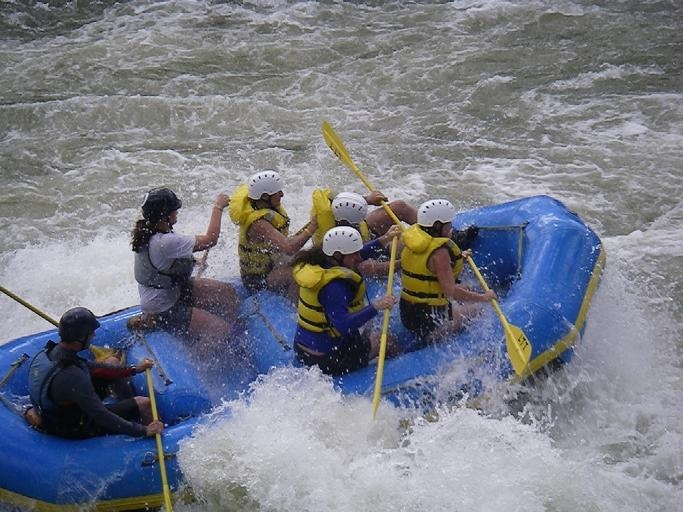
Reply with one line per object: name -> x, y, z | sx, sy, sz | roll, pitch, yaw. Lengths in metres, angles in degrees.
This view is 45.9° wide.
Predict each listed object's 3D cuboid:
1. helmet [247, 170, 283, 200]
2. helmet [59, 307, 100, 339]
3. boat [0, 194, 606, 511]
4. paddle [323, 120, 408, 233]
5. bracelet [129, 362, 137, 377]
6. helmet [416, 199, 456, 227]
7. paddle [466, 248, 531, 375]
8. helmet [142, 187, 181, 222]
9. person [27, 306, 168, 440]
helmet -> -0.853, -0.831, 8.995 | 0.359, 0.271, 0.261 | -9, 30, -7
helmet -> -2.528, 0.627, 7.781 | 0.246, 0.184, 0.347 | 11, 36, 30
boat -> -0.043, 1.767, 9.052 | 6.105, 1.265, 2.992 | -20, 40, -7
paddle -> 0.329, -1.055, 10.834 | 2.428, 0.272, 0.118 | 53, 35, 12
bracelet -> -2.084, 1.132, 8.169 | 0.069, 0.106, 0.093 | 5, 40, -5
helmet -> 0.994, -0.496, 8.470 | 0.346, 0.212, 0.264 | -8, 30, -3
paddle -> 1.684, 0.619, 8.522 | 0.163, 0.951, 0.936 | -37, 67, 12
helmet -> -1.895, -0.572, 8.488 | 0.415, 0.218, 0.296 | -36, 40, -26
person -> -2.418, 1.215, 8.045 | 0.664, 0.782, 0.851 | -25, 49, -39
